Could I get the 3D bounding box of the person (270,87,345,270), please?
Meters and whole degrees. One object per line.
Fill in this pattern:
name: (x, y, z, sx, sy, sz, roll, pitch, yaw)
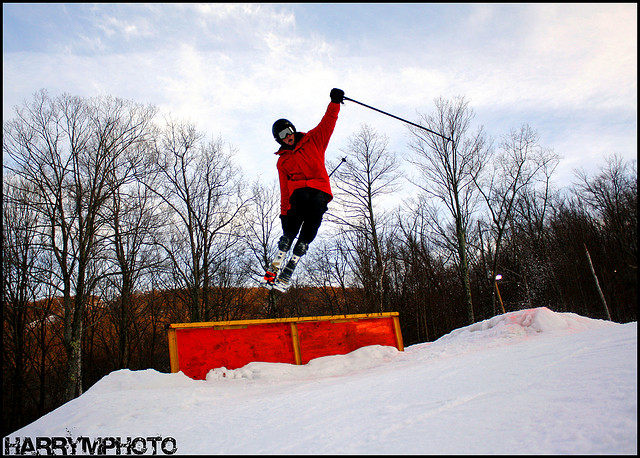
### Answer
person: (-0.447, -0.952, 9.391, 1.410, 4.480, 0.992, 2, -30, 12)
